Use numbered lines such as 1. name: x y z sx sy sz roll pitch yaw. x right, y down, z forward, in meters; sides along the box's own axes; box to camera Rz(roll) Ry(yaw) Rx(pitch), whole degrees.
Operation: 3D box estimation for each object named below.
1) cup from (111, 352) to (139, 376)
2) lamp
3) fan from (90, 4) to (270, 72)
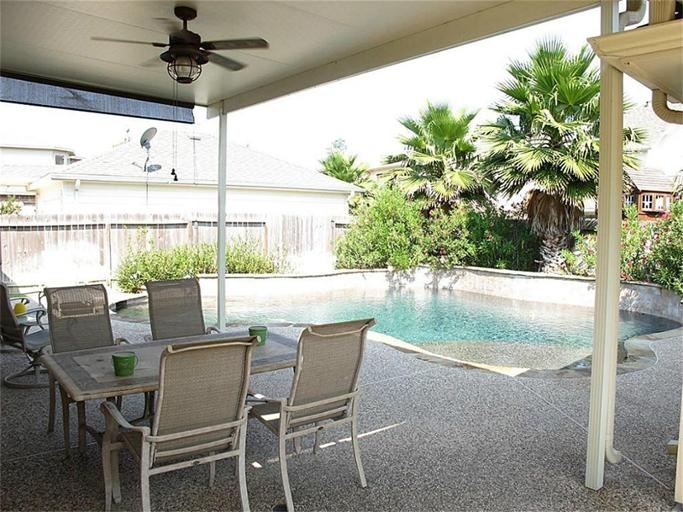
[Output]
1. cup: -1.459 0.736 3.286 0.167 0.120 0.132 5 -6 -40
2. lamp: -1.425 -1.912 4.360 0.425 0.707 0.549 -4 6 -19
3. fan: -1.264 -1.824 4.410 0.981 0.349 0.872 1 5 0
